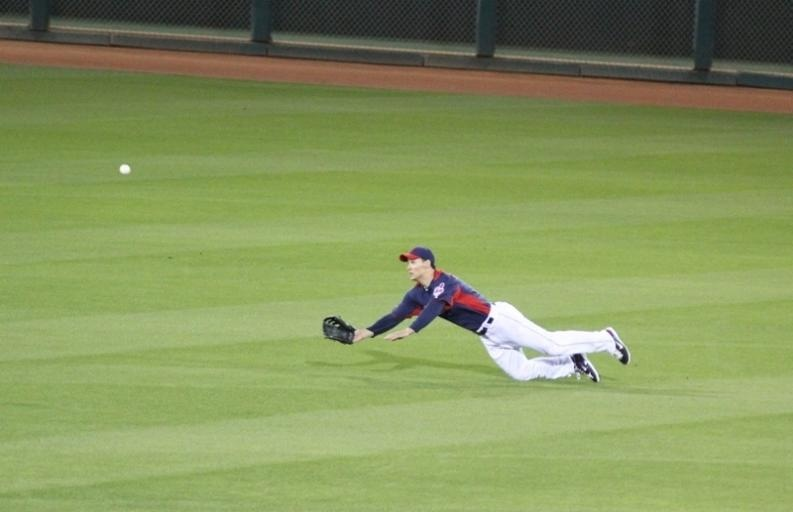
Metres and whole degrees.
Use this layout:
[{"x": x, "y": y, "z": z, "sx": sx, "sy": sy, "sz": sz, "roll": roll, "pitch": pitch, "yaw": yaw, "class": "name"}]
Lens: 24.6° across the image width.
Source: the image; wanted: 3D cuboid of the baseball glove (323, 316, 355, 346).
[{"x": -0.624, "y": 0.799, "z": 20.262, "sx": 0.377, "sy": 0.256, "sz": 0.150, "roll": 24, "pitch": 18, "yaw": -17, "class": "baseball glove"}]

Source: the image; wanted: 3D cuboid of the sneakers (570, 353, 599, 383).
[{"x": 2.171, "y": 1.213, "z": 20.629, "sx": 0.263, "sy": 0.384, "sz": 0.200, "roll": -35, "pitch": 0, "yaw": 16, "class": "sneakers"}]

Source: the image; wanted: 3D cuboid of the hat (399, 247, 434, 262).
[{"x": 0.252, "y": -0.032, "z": 20.269, "sx": 0.299, "sy": 0.118, "sz": 0.185, "roll": 2, "pitch": -2, "yaw": -1, "class": "hat"}]

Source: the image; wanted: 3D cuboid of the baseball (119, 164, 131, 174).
[{"x": -3.364, "y": -1.080, "z": 22.507, "sx": 0.150, "sy": 0.117, "sz": 0.116, "roll": 4, "pitch": 8, "yaw": -7, "class": "baseball"}]

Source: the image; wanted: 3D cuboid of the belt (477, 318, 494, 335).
[{"x": 1.035, "y": 0.759, "z": 20.301, "sx": 0.078, "sy": 0.193, "sz": 0.145, "roll": 39, "pitch": 9, "yaw": 0, "class": "belt"}]

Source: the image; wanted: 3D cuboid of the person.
[{"x": 0.944, "y": 0.724, "z": 20.450, "sx": 3.381, "sy": 1.359, "sz": 0.934, "roll": -3, "pitch": -14, "yaw": -19, "class": "person"}]
